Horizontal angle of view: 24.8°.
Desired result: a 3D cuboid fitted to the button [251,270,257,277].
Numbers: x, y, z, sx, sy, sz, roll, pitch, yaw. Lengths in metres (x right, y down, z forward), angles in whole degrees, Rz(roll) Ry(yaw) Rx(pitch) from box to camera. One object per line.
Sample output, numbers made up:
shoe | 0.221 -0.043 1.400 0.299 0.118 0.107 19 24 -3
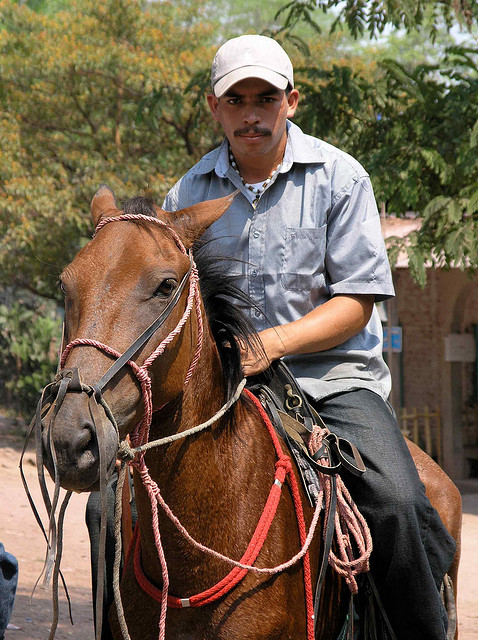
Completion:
button | 0.060 -0.157 3.809 0.021 0.005 0.023 5 42 23

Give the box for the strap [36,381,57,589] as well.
strap | -0.494 0.458 2.853 0.065 0.506 0.068 -4 16 -33

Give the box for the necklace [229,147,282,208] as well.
necklace | 0.071 -0.505 3.929 0.178 0.222 0.058 -1 -18 9

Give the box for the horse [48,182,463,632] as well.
horse | -0.015 0.333 3.358 1.430 1.124 0.499 0 0 -37

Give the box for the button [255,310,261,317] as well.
button | 0.070 -0.020 3.825 0.019 0.022 0.007 1 -1 -10

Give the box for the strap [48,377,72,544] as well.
strap | -0.471 0.371 2.856 0.055 0.323 0.183 0 0 -10

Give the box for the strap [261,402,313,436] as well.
strap | 0.176 0.344 3.654 0.130 0.035 0.104 33 22 17
